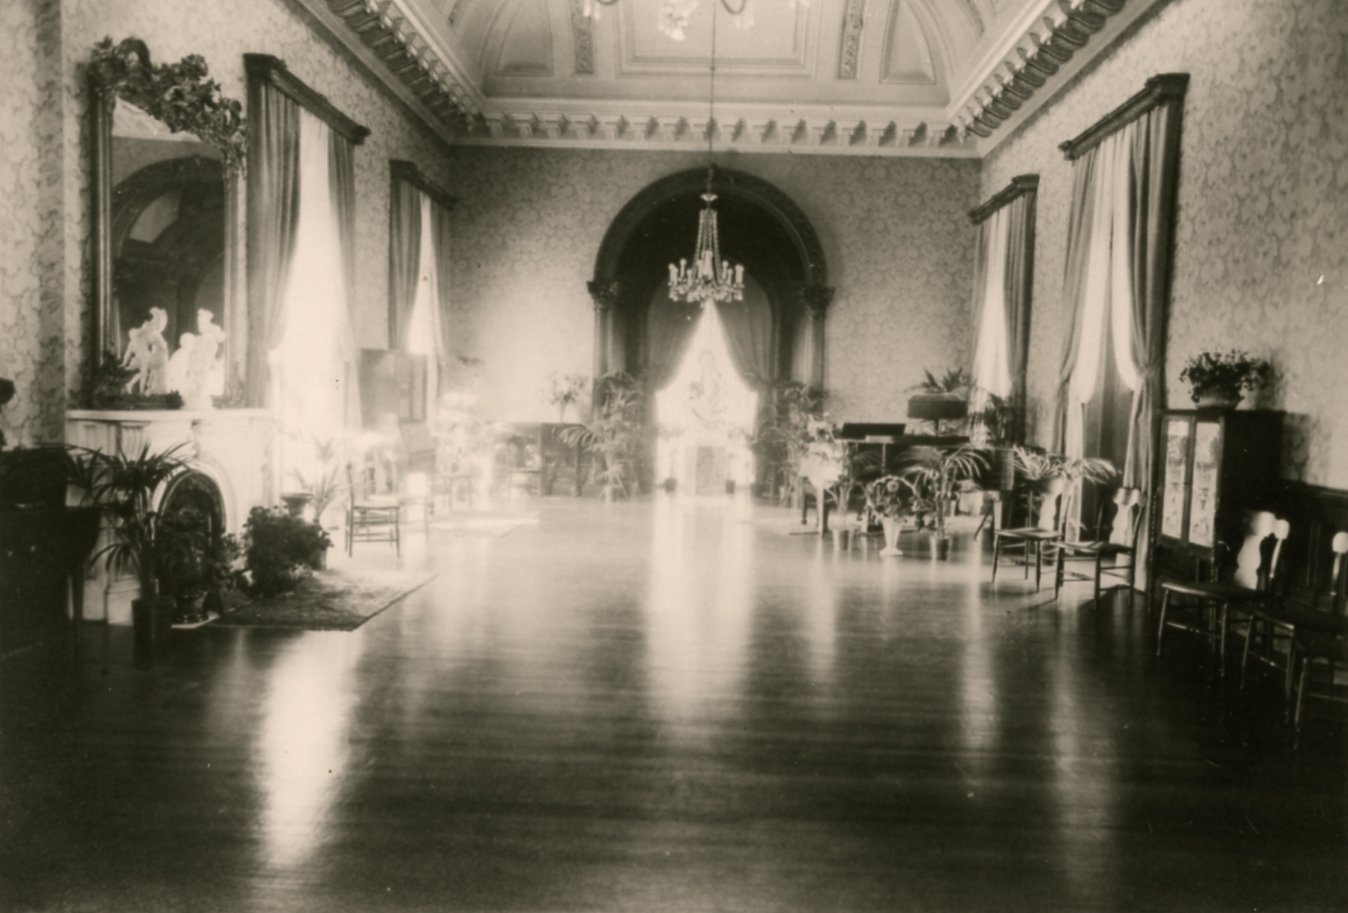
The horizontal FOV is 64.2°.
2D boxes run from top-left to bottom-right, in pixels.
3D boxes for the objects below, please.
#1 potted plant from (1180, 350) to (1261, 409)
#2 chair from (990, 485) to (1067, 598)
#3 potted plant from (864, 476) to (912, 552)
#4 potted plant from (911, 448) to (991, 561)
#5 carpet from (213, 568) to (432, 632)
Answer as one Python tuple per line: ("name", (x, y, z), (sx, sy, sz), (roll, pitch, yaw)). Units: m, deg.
("potted plant", (4.287, -0.591, 8.446), (0.502, 0.362, 0.520), (-3, -6, 37))
("chair", (3.166, 0.794, 9.787), (0.584, 0.828, 0.621), (-1, -12, 10))
("potted plant", (2.148, 0.516, 11.247), (0.385, 0.602, 0.396), (14, 24, 36))
("potted plant", (2.990, 0.455, 11.571), (0.752, 1.074, 2.041), (2, 6, 17))
("carpet", (-2.857, 1.139, 8.663), (1.281, 0.146, 1.525), (2, 6, 8))
